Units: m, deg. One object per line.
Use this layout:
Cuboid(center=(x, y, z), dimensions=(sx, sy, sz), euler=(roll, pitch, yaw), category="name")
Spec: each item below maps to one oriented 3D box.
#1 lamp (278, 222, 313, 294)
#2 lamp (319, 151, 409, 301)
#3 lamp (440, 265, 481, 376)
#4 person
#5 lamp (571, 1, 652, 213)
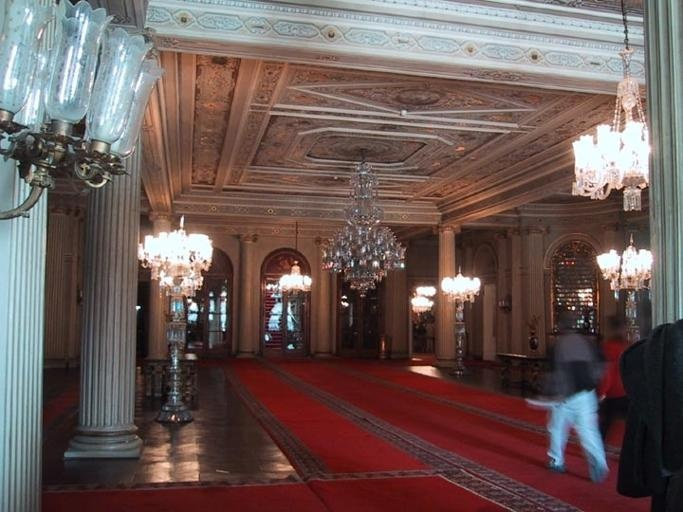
Cuboid(center=(-1.728, 0.130, 19.424), dimensions=(1.264, 2.371, 2.043), euler=(2, -6, -4), category="lamp")
Cuboid(center=(0.512, -0.758, 12.037), dimensions=(1.709, 2.751, 1.509), euler=(1, -6, 4), category="lamp")
Cuboid(center=(3.398, 2.007, 15.571), dimensions=(1.310, 2.732, 1.220), euler=(4, -9, -13), category="lamp")
Cuboid(center=(2.426, 1.437, 5.563), dimensions=(0.536, 1.681, 0.602), euler=(0, -6, 15), category="person")
Cuboid(center=(3.294, -1.768, 6.685), dimensions=(0.880, 2.484, 3.443), euler=(-2, -7, 28), category="lamp")
